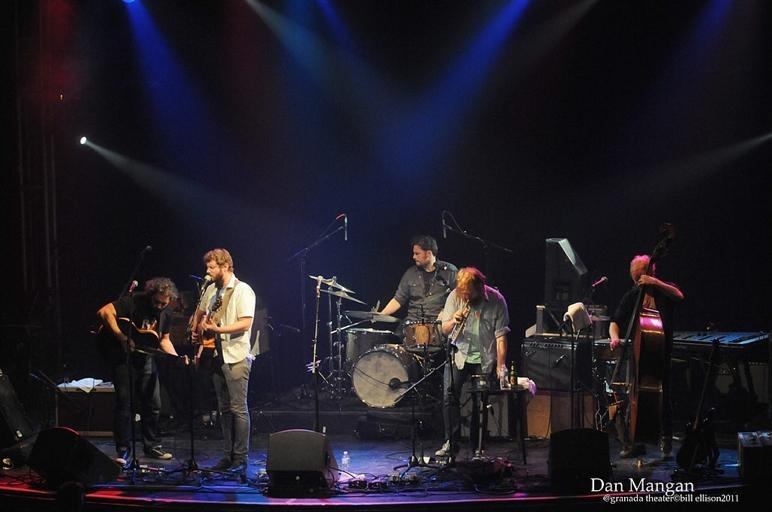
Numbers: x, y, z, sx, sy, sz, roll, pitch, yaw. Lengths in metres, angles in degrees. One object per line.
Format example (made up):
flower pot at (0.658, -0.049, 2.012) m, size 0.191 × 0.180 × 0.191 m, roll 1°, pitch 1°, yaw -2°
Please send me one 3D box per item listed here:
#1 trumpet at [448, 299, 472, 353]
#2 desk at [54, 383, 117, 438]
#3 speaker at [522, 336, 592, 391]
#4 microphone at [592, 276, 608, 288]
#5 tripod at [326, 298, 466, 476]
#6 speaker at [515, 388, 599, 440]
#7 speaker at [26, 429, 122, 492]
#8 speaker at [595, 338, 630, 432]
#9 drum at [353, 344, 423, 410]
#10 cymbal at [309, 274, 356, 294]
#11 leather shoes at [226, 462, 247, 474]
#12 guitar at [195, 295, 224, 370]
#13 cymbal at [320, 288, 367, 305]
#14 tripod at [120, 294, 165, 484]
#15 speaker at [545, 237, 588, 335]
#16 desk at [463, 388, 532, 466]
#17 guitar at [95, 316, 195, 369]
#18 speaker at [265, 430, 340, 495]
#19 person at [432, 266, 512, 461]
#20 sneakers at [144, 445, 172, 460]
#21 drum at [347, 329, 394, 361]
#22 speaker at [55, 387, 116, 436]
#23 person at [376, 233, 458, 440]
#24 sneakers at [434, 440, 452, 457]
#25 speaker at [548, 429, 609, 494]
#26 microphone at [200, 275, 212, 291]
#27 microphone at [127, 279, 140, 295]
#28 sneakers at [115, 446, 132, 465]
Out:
trumpet at (0.974, 1.007, 9.790) m, size 0.214 × 0.752 × 0.221 m, roll 28°, pitch 4°, yaw 31°
desk at (-4.646, 2.537, 11.359) m, size 0.953 × 0.749 × 0.584 m, roll -1°, pitch -14°, yaw 14°
speaker at (2.711, 1.691, 11.152) m, size 0.950 × 0.794 × 0.629 m, roll 1°, pitch 4°, yaw 41°
microphone at (3.573, 0.425, 11.698) m, size 0.136 × 0.155 × 0.533 m, roll -11°, pitch -4°, yaw 42°
tripod at (0.282, 2.211, 11.631) m, size 2.181 × 1.965 × 1.560 m, roll 3°, pitch -15°, yaw 28°
speaker at (2.713, 2.443, 11.004) m, size 0.920 × 0.739 × 0.763 m, roll 1°, pitch -9°, yaw -4°
speaker at (-4.049, 2.594, 9.309) m, size 0.932 × 0.755 × 1.143 m, roll 8°, pitch -15°, yaw 22°
speaker at (3.276, 1.998, 10.750) m, size 0.475 × 1.404 × 0.872 m, roll 4°, pitch -1°, yaw -9°
drum at (-0.006, 1.876, 11.405) m, size 1.012 × 1.094 × 0.720 m, roll 2°, pitch 15°, yaw 10°
cymbal at (-0.975, 0.478, 12.228) m, size 0.466 × 0.117 × 0.489 m, roll 18°, pitch -8°, yaw 19°
leather shoes at (-2.017, 2.825, 9.352) m, size 0.275 × 0.177 × 0.289 m, roll 4°, pitch -14°, yaw -13°
guitar at (-2.374, 1.033, 9.343) m, size 0.370 × 0.140 × 0.781 m, roll 20°, pitch -36°, yaw -6°
cymbal at (-0.760, 0.694, 12.158) m, size 0.449 × 0.114 × 0.437 m, roll 19°, pitch -1°, yaw -42°
tripod at (-3.506, 1.716, 9.917) m, size 0.815 × 2.232 × 0.300 m, roll -2°, pitch 0°, yaw -36°
speaker at (3.008, 0.575, 11.692) m, size 0.538 × 1.581 × 0.783 m, roll 2°, pitch 6°, yaw 21°
desk at (1.720, 2.450, 10.483) m, size 0.840 × 0.927 × 0.886 m, roll -6°, pitch -19°, yaw 36°
guitar at (-3.564, 1.258, 10.043) m, size 1.364 × 0.714 × 0.194 m, roll 14°, pitch 32°, yaw 14°
speaker at (-1.110, 2.607, 8.979) m, size 0.732 × 0.772 × 0.683 m, roll -2°, pitch -5°, yaw 12°
person at (1.226, 1.477, 9.804) m, size 0.929 × 2.556 × 0.811 m, roll 0°, pitch -12°, yaw 6°
sneakers at (-3.329, 2.846, 10.192) m, size 0.445 × 0.206 × 0.171 m, roll 3°, pitch -5°, yaw 1°
drum at (-0.329, 1.487, 11.938) m, size 0.700 × 0.581 × 0.744 m, roll 4°, pitch 3°, yaw 0°
speaker at (-4.952, 2.585, 11.297) m, size 0.635 × 0.786 × 1.088 m, roll -20°, pitch -20°, yaw 31°
person at (0.510, 0.946, 12.108) m, size 1.303 × 2.492 × 1.154 m, roll 1°, pitch 16°, yaw -1°
sneakers at (0.817, 2.740, 9.907) m, size 0.252 × 0.266 × 0.265 m, roll -2°, pitch -8°, yaw 20°
speaker at (2.449, 2.534, 8.857) m, size 0.713 × 0.748 × 0.613 m, roll -4°, pitch -7°, yaw 15°
microphone at (-2.614, 0.392, 10.074) m, size 0.065 × 0.217 × 0.063 m, roll 20°, pitch -7°, yaw 14°
microphone at (-3.786, 0.461, 10.376) m, size 0.068 × 0.221 × 0.127 m, roll 33°, pitch 11°, yaw 29°
sneakers at (-3.743, 2.813, 9.935) m, size 0.184 × 0.247 × 0.552 m, roll 4°, pitch -11°, yaw -18°
